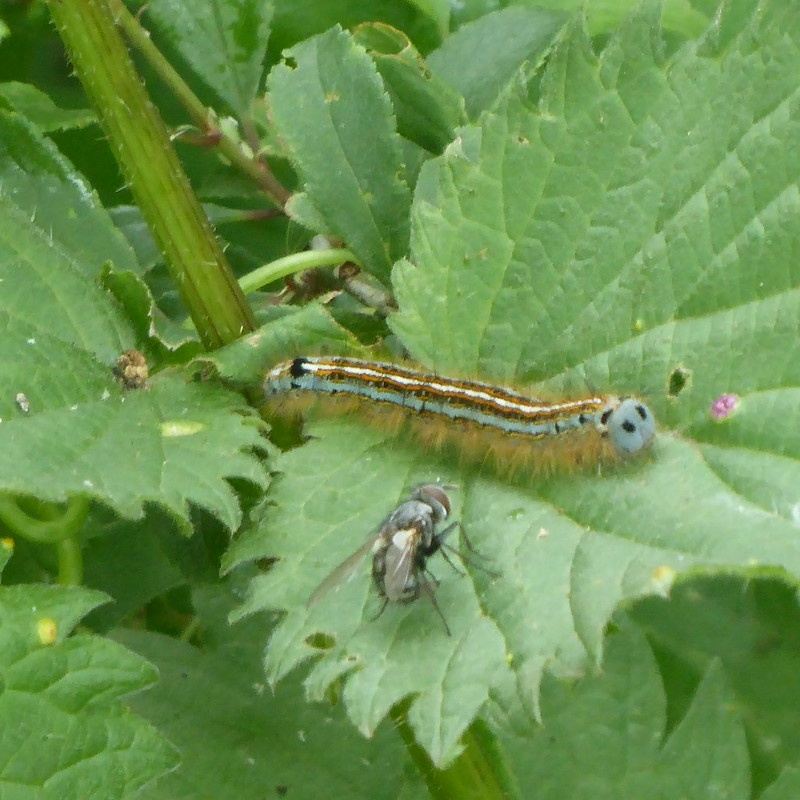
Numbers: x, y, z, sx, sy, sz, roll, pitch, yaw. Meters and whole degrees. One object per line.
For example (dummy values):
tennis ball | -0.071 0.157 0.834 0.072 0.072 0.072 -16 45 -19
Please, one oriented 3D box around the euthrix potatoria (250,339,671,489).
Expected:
euthrix potatoria | 0.087 -0.049 2.171 0.665 0.616 0.270 -2 102 -29
